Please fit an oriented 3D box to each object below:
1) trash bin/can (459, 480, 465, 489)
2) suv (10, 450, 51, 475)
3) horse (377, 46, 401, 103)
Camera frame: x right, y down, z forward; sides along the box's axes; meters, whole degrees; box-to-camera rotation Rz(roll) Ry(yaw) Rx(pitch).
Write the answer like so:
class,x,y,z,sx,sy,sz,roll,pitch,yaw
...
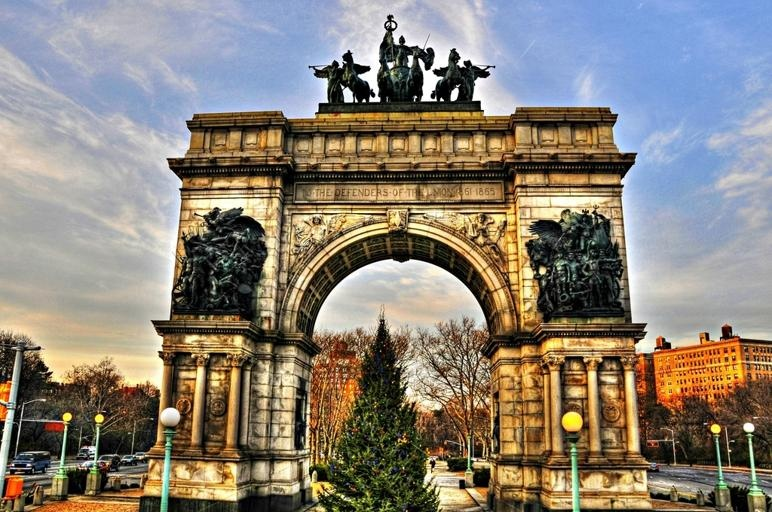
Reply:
class,x,y,z,sx,sy,sz,roll,pitch,yaw
trash bin/can,5.959,17.763,50.502,0.540,0.502,1.937,-1,-14,5
suv,-34.831,20.284,63.479,2.725,1.861,4.740,2,-15,-9
horse,0.093,-13.047,46.194,1.449,4.830,1.030,2,-14,-9
